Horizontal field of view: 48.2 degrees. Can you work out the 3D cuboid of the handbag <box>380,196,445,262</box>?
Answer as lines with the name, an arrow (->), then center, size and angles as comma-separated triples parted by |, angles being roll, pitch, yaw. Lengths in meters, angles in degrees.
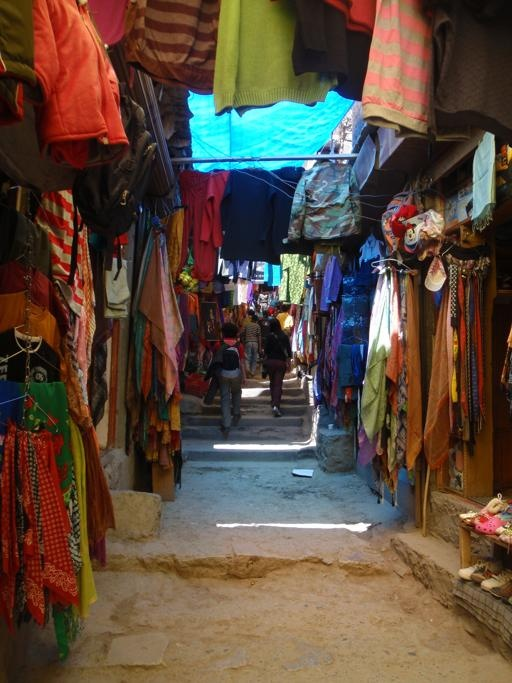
handbag -> 1.138, -0.753, 4.152 | 0.313, 0.516, 0.380 | 0, 42, 3

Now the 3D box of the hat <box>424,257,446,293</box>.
hat -> 1.280, -0.479, 4.058 | 0.136, 0.257, 0.338 | 2, 0, 19
